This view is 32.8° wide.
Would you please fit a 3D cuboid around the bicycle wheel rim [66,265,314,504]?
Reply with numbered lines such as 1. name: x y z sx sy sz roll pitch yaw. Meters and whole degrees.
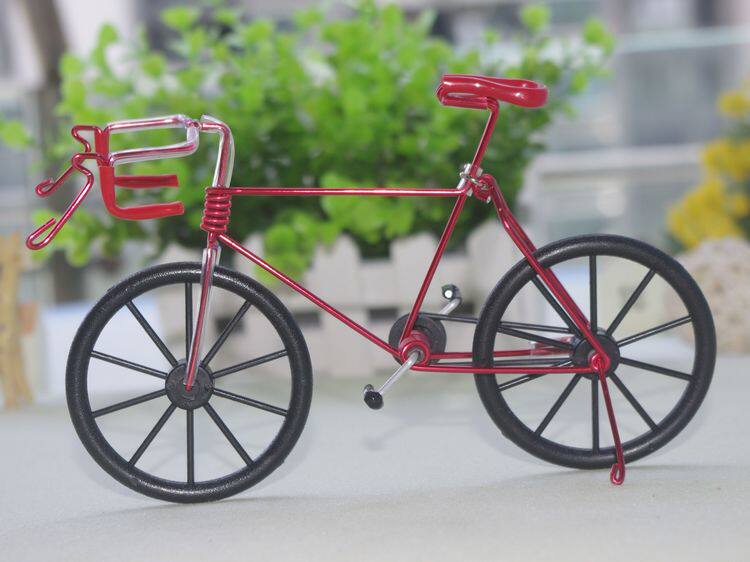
1. bicycle wheel rim: -0.482 0.257 3.325 0.568 0.669 0.596 0 5 -5
